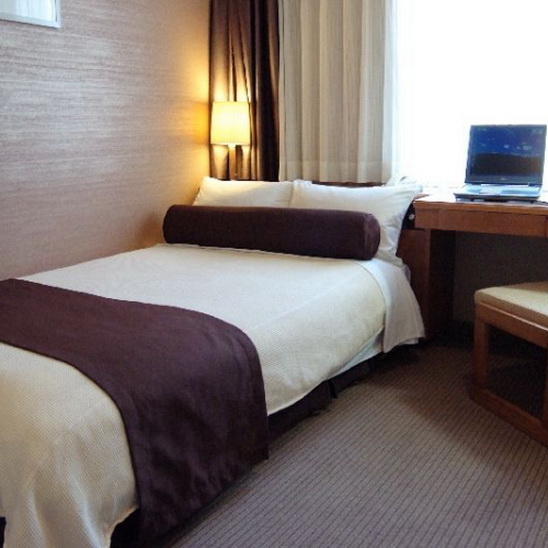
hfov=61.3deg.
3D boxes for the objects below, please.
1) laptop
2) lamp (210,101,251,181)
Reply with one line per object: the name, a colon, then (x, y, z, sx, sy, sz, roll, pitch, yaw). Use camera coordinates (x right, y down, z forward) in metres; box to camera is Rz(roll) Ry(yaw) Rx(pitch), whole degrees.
laptop: (1.100, -0.548, 2.237, 0.361, 0.362, 0.344, 7, 15, 36)
lamp: (-0.316, -0.960, 3.367, 0.291, 0.538, 0.274, -3, 11, -9)
